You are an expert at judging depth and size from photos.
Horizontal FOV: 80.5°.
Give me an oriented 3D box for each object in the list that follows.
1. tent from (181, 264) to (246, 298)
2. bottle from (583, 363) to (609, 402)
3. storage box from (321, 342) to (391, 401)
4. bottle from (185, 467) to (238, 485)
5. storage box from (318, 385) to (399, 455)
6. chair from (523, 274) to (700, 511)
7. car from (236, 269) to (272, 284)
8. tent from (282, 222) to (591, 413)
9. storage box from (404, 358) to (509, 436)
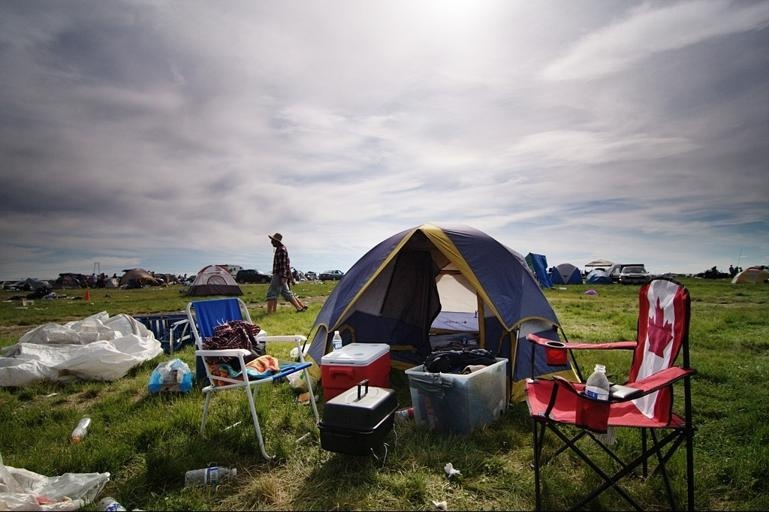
[{"bbox_3d":[-6.383,0.939,16.964,1.680,0.839,0.812,-1,-1,-23],"label":"tent"},{"bbox_3d":[2.033,1.201,4.336,0.228,0.342,0.255,-2,-1,25],"label":"bottle"},{"bbox_3d":[-0.370,1.448,6.082,0.677,0.691,1.154,-1,-1,20],"label":"storage box"},{"bbox_3d":[-1.855,2.335,4.833,0.399,0.071,0.200,0,-3,-11],"label":"bottle"},{"bbox_3d":[-0.231,1.759,5.163,0.768,0.722,1.129,-1,0,21],"label":"storage box"},{"bbox_3d":[2.363,1.369,4.718,1.621,2.503,1.204,-1,-1,3],"label":"chair"},{"bbox_3d":[-8.175,1.298,28.248,2.274,0.799,0.994,-2,1,5],"label":"car"},{"bbox_3d":[1.159,0.695,7.163,3.351,1.720,3.075,-2,-1,37],"label":"tent"},{"bbox_3d":[0.987,1.764,5.774,0.732,0.565,1.100,-3,-2,39],"label":"storage box"}]
